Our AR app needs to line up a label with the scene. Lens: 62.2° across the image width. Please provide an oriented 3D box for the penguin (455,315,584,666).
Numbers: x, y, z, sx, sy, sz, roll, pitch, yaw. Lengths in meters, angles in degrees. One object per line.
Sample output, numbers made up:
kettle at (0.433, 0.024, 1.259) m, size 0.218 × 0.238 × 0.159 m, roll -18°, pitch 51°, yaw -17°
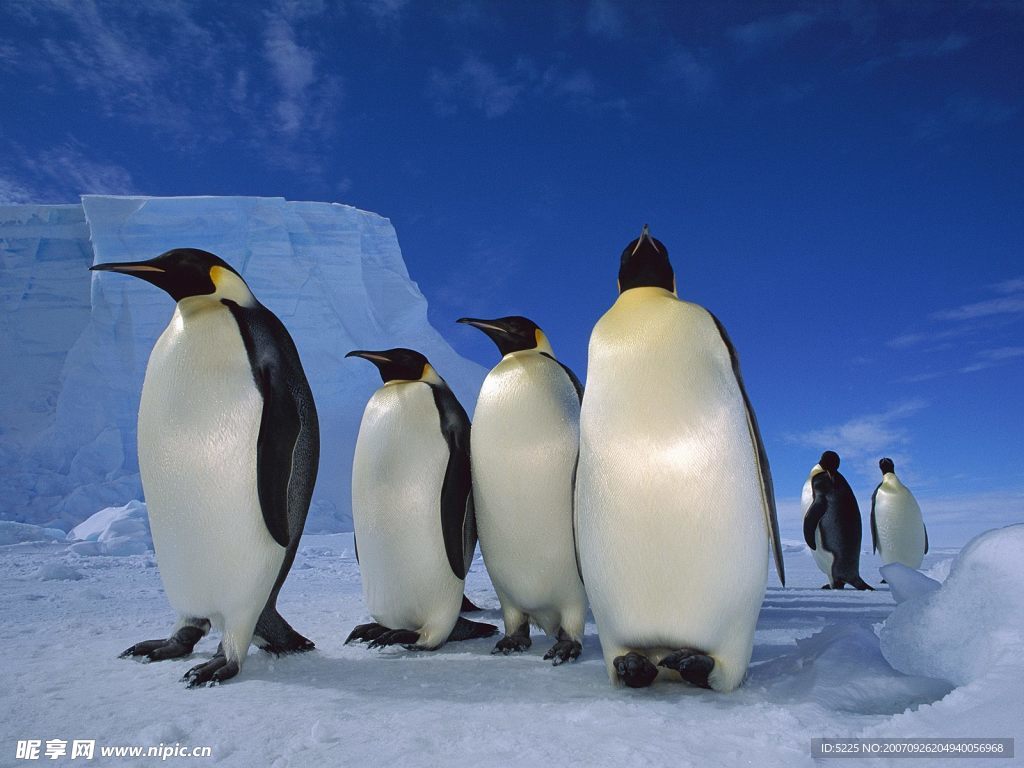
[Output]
penguin at (0.065, 0.400, 3.450) m, size 0.472 × 1.396 × 0.546 m, roll -3°, pitch -3°, yaw 4°

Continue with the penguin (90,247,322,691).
penguin at (-1.098, 0.303, 3.154) m, size 0.691 × 1.570 × 0.743 m, roll 3°, pitch 6°, yaw -26°

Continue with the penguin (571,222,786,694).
penguin at (0.522, 0.378, 2.784) m, size 0.542 × 1.395 × 1.461 m, roll -7°, pitch -14°, yaw 20°
